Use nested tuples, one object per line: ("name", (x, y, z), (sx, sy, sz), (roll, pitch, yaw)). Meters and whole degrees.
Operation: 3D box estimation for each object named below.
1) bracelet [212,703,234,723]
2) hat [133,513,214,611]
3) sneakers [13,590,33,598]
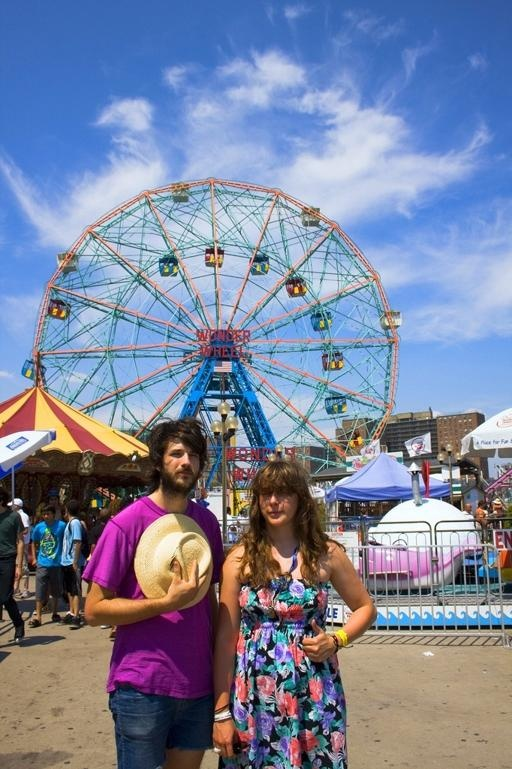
("bracelet", (-0.111, 1.092, 2.245), (0.049, 0.056, 0.058), (-11, -33, -15))
("hat", (-0.294, 0.587, 2.274), (0.082, 0.284, 0.285), (-4, 12, 46))
("sneakers", (-4.220, 3.825, 12.249), (0.167, 0.185, 0.450), (-2, -23, 3))
